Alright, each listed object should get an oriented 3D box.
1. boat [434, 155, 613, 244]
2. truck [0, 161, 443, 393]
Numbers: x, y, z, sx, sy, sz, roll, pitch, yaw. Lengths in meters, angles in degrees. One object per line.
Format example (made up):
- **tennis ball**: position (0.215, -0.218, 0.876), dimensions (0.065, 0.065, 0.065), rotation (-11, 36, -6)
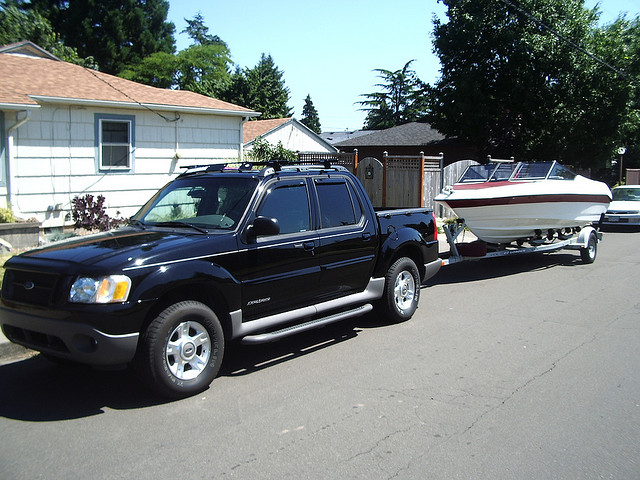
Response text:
- **boat**: position (5.224, -0.972, 11.708), dimensions (5.002, 2.053, 1.068), rotation (-4, 9, -25)
- **truck**: position (-0.955, 0.225, 5.791), dimensions (5.174, 2.490, 1.491), rotation (-6, 10, -35)
